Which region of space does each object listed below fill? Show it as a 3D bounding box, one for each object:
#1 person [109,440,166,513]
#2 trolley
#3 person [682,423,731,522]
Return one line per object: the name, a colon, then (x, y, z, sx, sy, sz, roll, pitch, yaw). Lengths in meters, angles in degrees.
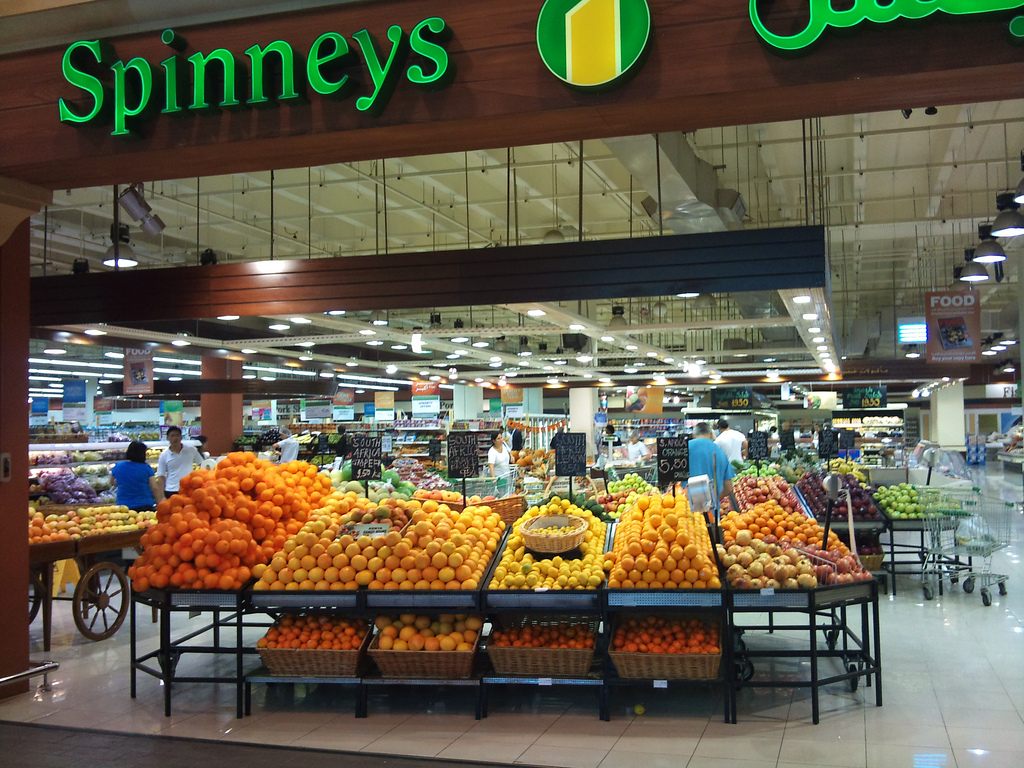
person: (-4.321, 1.030, 9.183, 0.491, 0.833, 0.441, 1, -1, 10)
trolley: (5.358, 1.790, 9.075, 1.073, 1.531, 1.234, 0, -1, 18)
person: (2.017, 0.947, 8.128, 0.432, 1.053, 0.499, 3, -1, 13)
